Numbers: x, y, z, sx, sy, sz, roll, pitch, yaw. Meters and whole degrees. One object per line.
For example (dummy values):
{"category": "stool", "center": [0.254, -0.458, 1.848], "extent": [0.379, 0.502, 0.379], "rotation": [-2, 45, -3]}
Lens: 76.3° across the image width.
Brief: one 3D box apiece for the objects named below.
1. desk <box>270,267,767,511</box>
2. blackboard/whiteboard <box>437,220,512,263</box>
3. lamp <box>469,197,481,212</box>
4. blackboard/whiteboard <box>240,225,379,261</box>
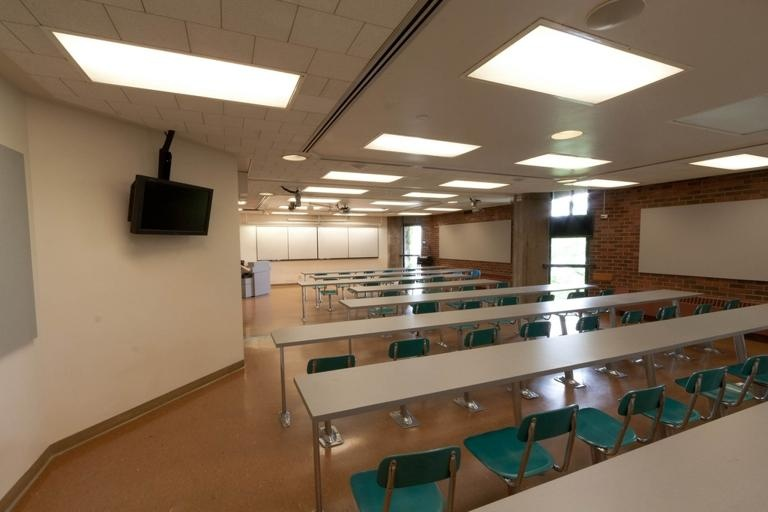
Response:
{"category": "desk", "center": [1.614, 1.584, 5.259], "extent": [4.996, 1.533, 0.871], "rotation": [-2, 3, -19]}
{"category": "blackboard/whiteboard", "center": [2.675, -0.436, 14.542], "extent": [0.095, 1.176, 3.431], "rotation": [-2, 3, -24]}
{"category": "lamp", "center": [2.355, -1.341, 12.672], "extent": [0.363, 0.436, 0.399], "rotation": [-3, 4, -31]}
{"category": "blackboard/whiteboard", "center": [-2.464, -0.475, 16.827], "extent": [4.813, 1.202, 0.599], "rotation": [-2, 4, -26]}
